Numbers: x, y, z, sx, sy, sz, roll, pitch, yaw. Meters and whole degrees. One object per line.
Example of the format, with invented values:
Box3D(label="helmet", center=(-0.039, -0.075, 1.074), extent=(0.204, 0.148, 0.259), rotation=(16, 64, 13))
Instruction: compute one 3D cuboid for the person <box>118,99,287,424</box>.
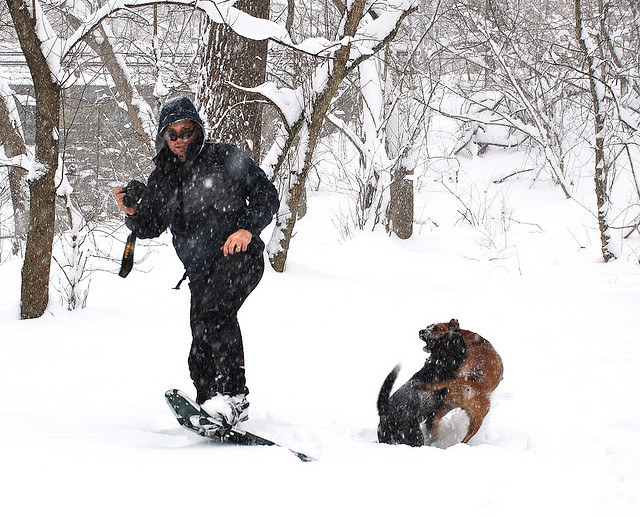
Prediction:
Box3D(label="person", center=(-0.931, 0.051, 5.648), extent=(1.156, 2.540, 0.565), rotation=(4, 6, 23))

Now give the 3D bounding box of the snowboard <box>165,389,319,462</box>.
Box3D(label="snowboard", center=(-0.615, 1.277, 5.436), extent=(0.813, 0.199, 0.129), rotation=(24, -2, -12))

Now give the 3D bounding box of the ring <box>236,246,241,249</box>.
Box3D(label="ring", center=(-0.602, -0.077, 5.327), extent=(0.035, 0.020, 0.022), rotation=(0, 6, -21))

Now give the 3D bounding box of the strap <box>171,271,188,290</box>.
Box3D(label="strap", center=(-1.092, 0.183, 5.639), extent=(0.052, 0.141, 0.036), rotation=(3, -35, 33))

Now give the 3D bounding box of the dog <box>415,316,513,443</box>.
Box3D(label="dog", center=(1.137, 0.951, 5.507), extent=(0.837, 0.960, 0.395), rotation=(-1, 6, -30))

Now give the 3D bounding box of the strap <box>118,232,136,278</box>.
Box3D(label="strap", center=(-1.567, -0.035, 5.878), extent=(0.082, 0.363, 0.069), rotation=(11, 4, 24))

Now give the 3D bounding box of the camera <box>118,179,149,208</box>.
Box3D(label="camera", center=(-1.493, -0.512, 5.795), extent=(0.180, 0.124, 0.217), rotation=(-20, 33, 24))
